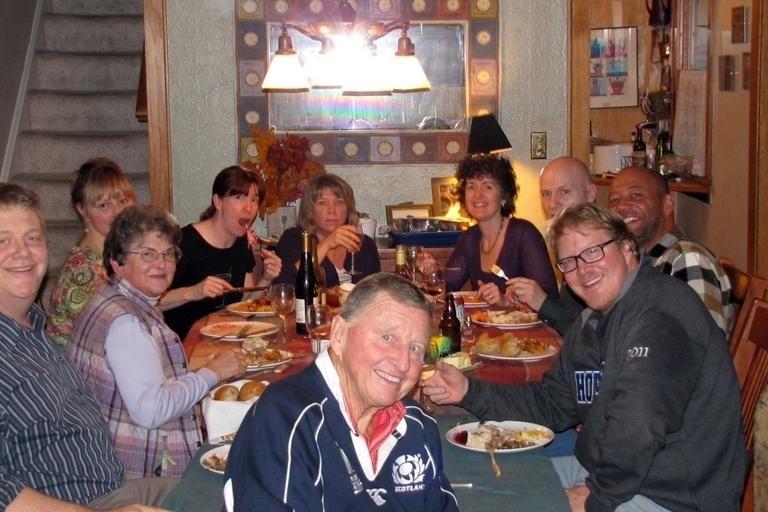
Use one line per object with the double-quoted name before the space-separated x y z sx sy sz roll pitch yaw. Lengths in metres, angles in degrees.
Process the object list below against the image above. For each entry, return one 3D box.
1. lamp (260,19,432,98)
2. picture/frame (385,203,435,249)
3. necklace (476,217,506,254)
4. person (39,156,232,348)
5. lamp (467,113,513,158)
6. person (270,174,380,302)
"lamp" -0.313 -1.671 5.314 1.420 0.549 0.441 -4 16 -13
"picture/frame" 0.216 -0.244 5.251 0.464 0.429 0.044 0 -28 -7
"necklace" 0.720 -0.130 4.183 0.025 0.227 0.142 -7 32 -46
"person" -1.563 0.026 3.687 0.808 1.132 0.671 22 28 40
"lamp" 0.858 -1.010 5.314 0.398 0.318 0.409 -5 12 -11
"person" -0.372 -0.148 4.216 0.677 1.278 0.776 -1 -3 -7
